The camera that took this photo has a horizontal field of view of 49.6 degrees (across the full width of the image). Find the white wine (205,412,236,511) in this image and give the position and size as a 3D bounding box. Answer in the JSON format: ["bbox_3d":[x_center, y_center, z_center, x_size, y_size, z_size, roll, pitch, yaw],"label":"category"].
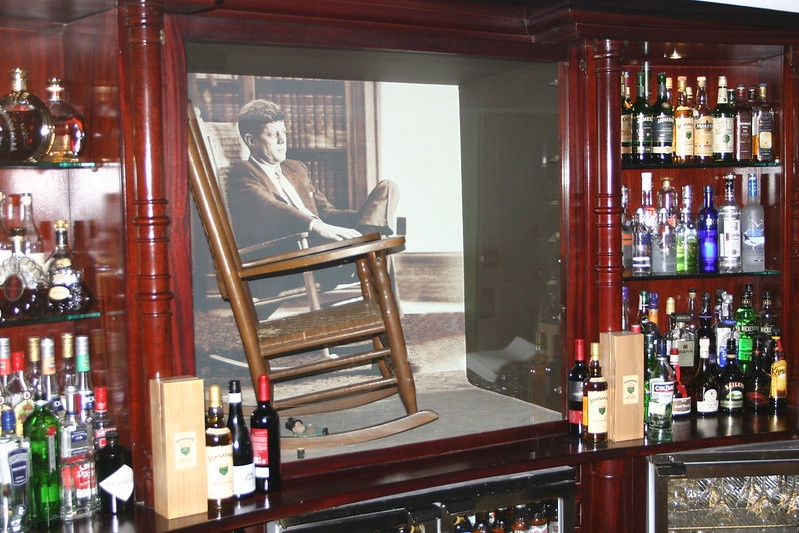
[{"bbox_3d":[-0.544,0.577,2.583,0.079,0.293,0.100,-5,5,-4],"label":"white wine"}]

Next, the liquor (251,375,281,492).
[{"bbox_3d":[-0.423,0.509,2.713,0.088,0.373,0.170,-5,5,-6],"label":"liquor"}]

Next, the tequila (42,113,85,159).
[{"bbox_3d":[-0.997,-0.392,2.612,0.134,0.124,0.126,4,3,9],"label":"tequila"}]
